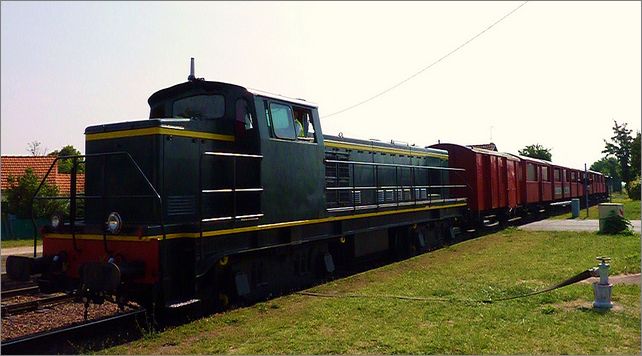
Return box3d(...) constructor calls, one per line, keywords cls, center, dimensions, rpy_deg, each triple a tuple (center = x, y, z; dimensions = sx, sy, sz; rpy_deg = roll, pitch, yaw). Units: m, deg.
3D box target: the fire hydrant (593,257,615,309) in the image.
box3d(cls="fire hydrant", center=(7.390, 2.681, 10.910), dimensions=(0.449, 1.234, 0.922), rpy_deg=(4, 10, 34))
